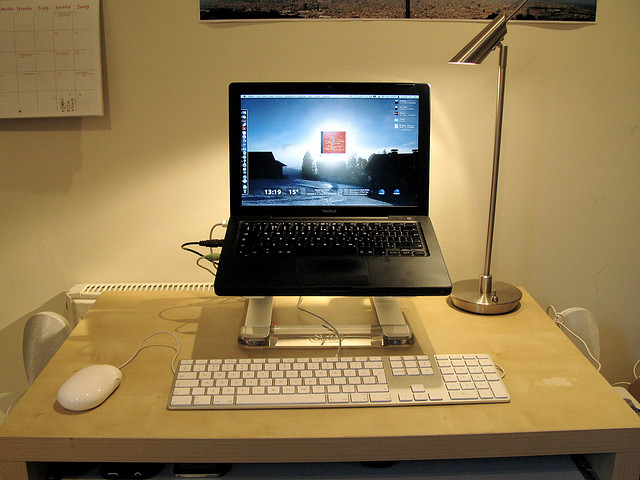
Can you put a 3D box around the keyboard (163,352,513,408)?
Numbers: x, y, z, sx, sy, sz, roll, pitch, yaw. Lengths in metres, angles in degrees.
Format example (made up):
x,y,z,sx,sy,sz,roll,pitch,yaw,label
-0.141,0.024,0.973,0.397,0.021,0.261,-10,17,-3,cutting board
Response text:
x,y,z,sx,sy,sz,roll,pitch,yaw,label
0.046,0.308,1.151,0.754,0.193,0.023,-1,41,2,keyboard

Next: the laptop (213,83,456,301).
x,y,z,sx,sy,sz,roll,pitch,yaw,label
0.038,-0.135,1.315,0.560,0.553,0.165,2,-1,0,laptop

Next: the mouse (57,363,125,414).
x,y,z,sx,sy,sz,roll,pitch,yaw,label
-0.489,0.319,1.141,0.115,0.087,0.141,2,-1,-5,mouse
